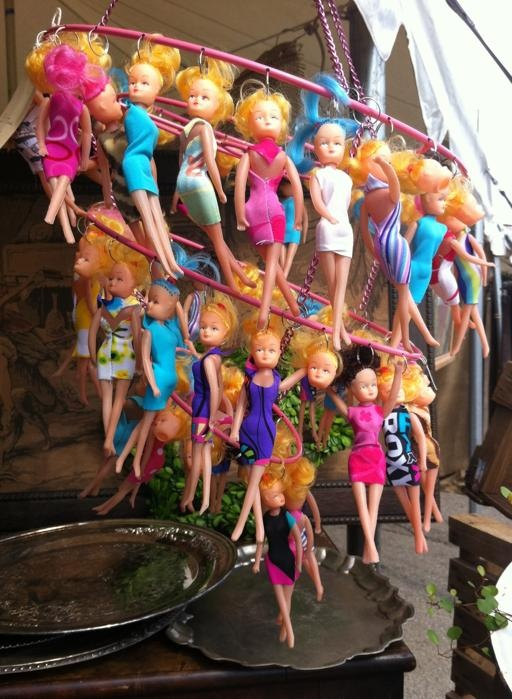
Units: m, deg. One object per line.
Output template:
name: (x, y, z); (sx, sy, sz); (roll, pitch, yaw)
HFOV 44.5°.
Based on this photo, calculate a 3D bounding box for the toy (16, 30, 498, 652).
toy: (-0.104, -0.186, 1.799); (1.217, 1.150, 1.219); (3, 9, 27)
